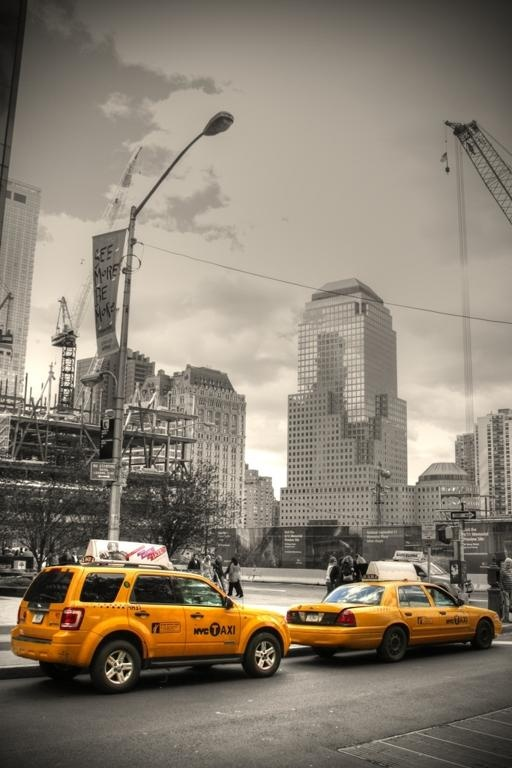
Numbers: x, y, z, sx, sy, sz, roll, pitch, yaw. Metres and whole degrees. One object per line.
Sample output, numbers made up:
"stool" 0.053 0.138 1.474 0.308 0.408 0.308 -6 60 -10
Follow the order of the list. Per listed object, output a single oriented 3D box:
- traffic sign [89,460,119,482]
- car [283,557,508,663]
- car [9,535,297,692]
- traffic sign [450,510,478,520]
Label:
"traffic sign" -3.199 1.778 15.866 0.465 0.459 0.773 5 -11 -14
"car" 2.437 3.707 12.895 3.368 1.039 1.518 7 -15 -33
"car" -1.274 3.002 10.073 3.490 1.320 1.567 9 -17 -40
"traffic sign" 5.587 3.499 20.504 0.454 0.299 1.430 -7 -13 40
